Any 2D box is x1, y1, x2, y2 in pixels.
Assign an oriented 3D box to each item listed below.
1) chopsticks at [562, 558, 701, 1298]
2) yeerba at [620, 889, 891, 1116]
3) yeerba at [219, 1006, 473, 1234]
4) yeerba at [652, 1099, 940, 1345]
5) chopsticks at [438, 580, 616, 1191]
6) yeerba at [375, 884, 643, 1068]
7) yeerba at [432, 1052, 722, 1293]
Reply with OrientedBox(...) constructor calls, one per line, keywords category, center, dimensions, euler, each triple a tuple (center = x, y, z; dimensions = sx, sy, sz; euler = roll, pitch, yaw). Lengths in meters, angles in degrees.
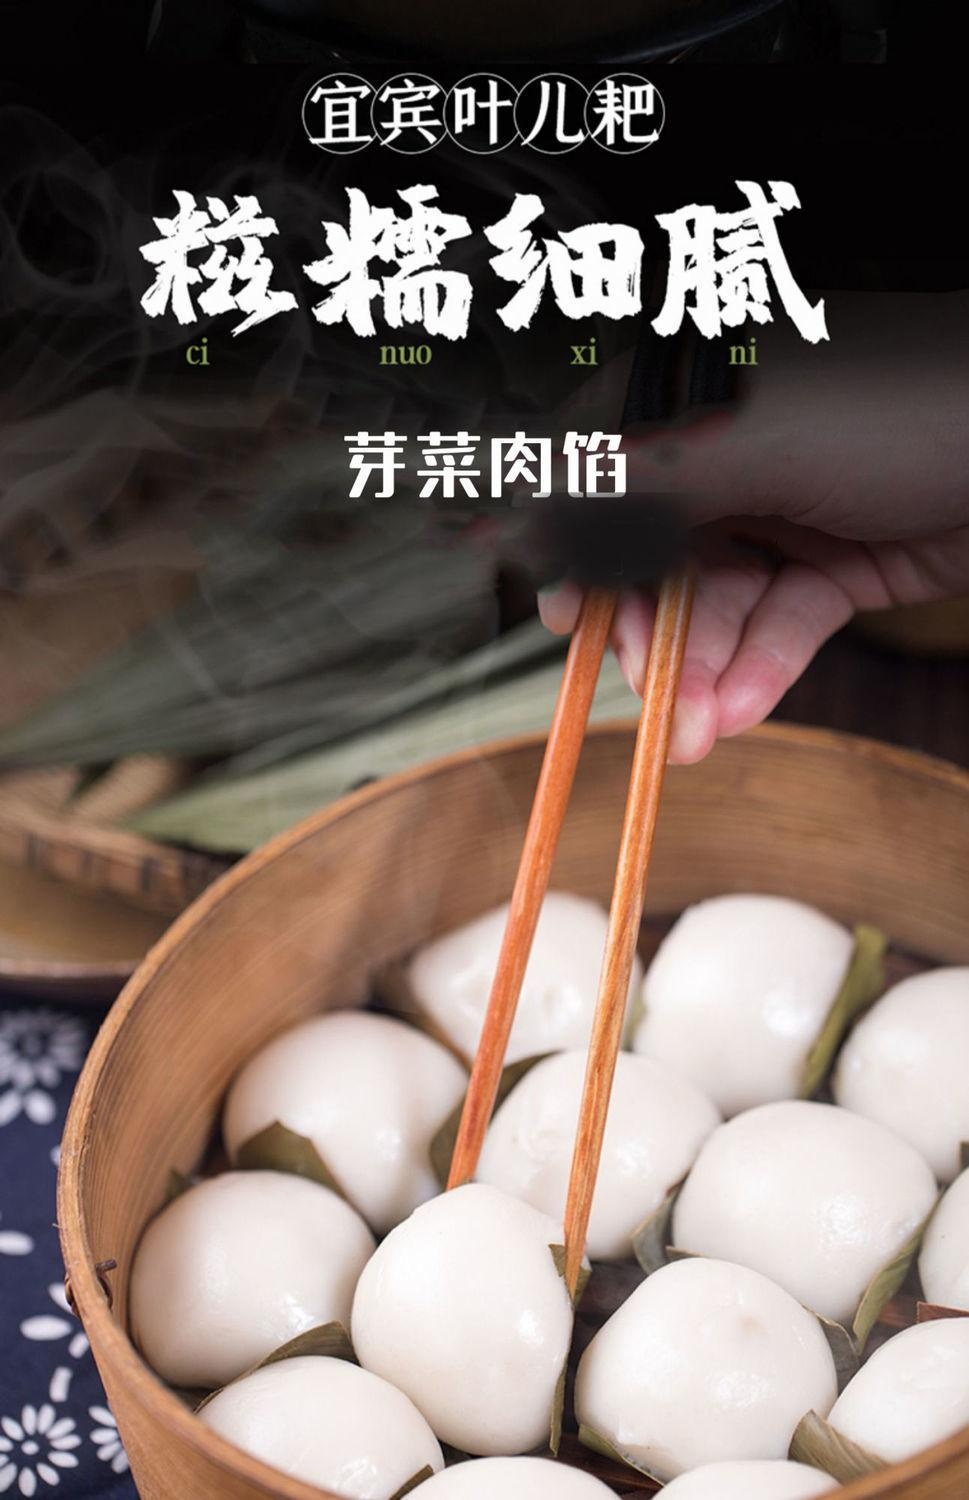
OrientedBox(category="chopsticks", center=(0.086, 0.103, 0.759), dimensions=(0.018, 0.430, 0.018), euler=(7, -9, 45))
OrientedBox(category="yeerba", center=(0.128, 0.183, 0.834), dimensions=(0.192, 0.099, 0.138), euler=(8, -5, -5))
OrientedBox(category="yeerba", center=(-0.080, 0.204, 0.790), dimensions=(0.142, 0.117, 0.115), euler=(-4, 12, 5))
OrientedBox(category="yeerba", center=(0.163, 0.241, 0.689), dimensions=(0.124, 0.100, 0.069), euler=(41, 17, -5))
OrientedBox(category="chopsticks", center=(0.023, 0.082, 0.780), dimensions=(0.027, 0.366, 0.020), euler=(13, -10, 6))
OrientedBox(category="yeerba", center=(0.007, 0.149, 0.799), dimensions=(0.119, 0.058, 0.116), euler=(-36, 53, -25))
OrientedBox(category="yeerba", center=(0.061, 0.214, 0.730), dimensions=(0.111, 0.070, 0.134), euler=(6, 19, 10))
